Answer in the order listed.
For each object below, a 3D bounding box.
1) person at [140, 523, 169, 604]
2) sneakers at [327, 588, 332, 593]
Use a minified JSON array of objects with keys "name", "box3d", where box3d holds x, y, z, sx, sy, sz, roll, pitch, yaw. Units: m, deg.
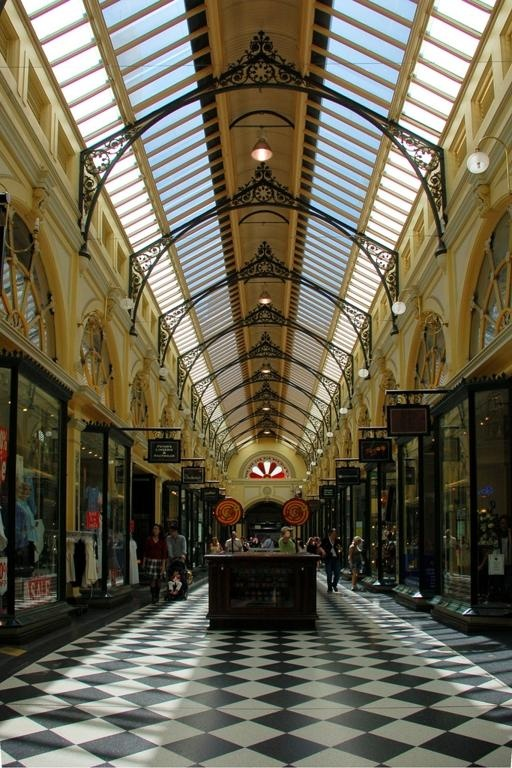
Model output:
[{"name":"person","box3d":[-2.332,4.086,13.617,0.464,1.643,2.338,1,-16,-10]},{"name":"sneakers","box3d":[2.086,5.830,16.830,0.121,0.142,0.121,0,7,3]}]
